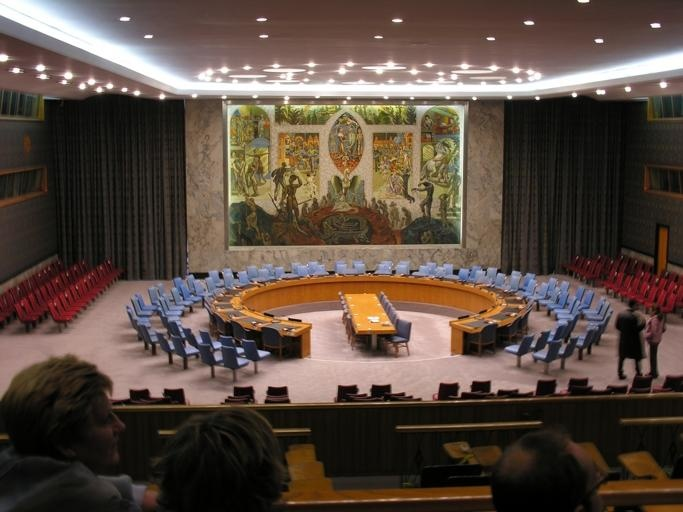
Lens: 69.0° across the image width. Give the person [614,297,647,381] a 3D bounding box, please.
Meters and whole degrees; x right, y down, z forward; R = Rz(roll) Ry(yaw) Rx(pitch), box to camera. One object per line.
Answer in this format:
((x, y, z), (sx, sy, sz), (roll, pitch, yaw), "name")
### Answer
((6.674, 2.076, 11.543), (0.602, 1.678, 0.423), (2, 7, 19), "person")
